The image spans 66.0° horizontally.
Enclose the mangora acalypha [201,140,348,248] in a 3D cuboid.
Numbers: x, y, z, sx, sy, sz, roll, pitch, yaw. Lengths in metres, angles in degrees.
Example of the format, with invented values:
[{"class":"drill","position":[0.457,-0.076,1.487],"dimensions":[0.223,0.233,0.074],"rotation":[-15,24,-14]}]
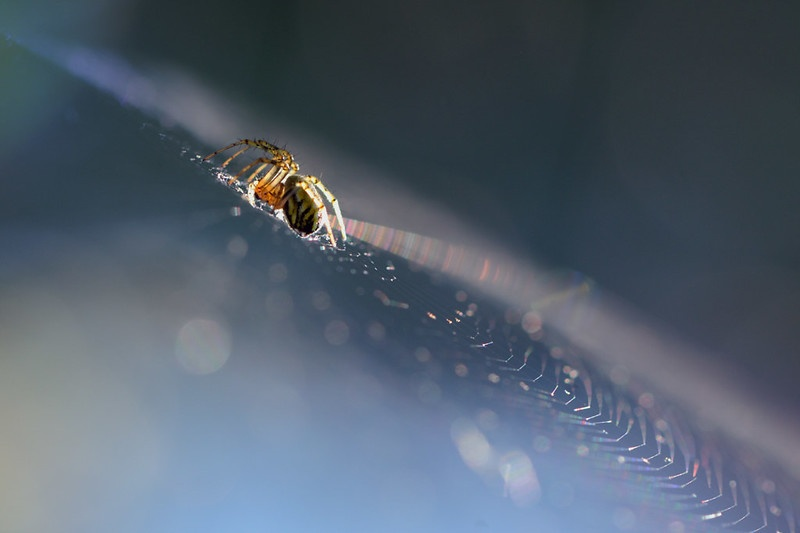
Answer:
[{"class":"mangora acalypha","position":[-0.901,-0.628,4.805],"dimensions":[1.055,0.744,0.430],"rotation":[12,-53,-27]}]
